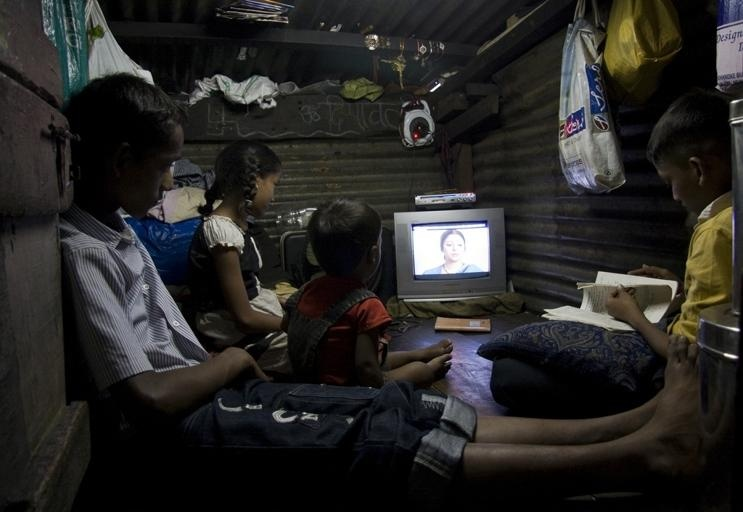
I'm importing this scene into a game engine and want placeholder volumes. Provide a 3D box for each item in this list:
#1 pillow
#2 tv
[{"bbox_3d":[0.852,0.372,2.367,0.559,0.214,0.770,4,3,32],"label":"pillow"},{"bbox_3d":[0.533,-0.049,3.931,1.162,0.832,0.622,-2,-5,4],"label":"tv"}]
